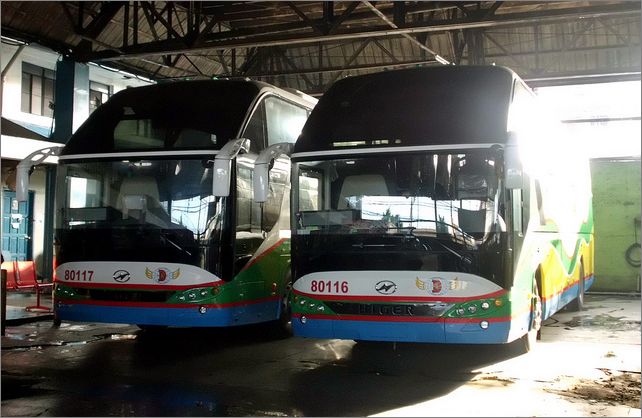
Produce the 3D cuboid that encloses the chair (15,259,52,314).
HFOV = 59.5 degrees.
[{"bbox_3d":[-7.598,2.014,15.050,0.999,1.317,0.962,1,-3,-19],"label":"chair"}]
